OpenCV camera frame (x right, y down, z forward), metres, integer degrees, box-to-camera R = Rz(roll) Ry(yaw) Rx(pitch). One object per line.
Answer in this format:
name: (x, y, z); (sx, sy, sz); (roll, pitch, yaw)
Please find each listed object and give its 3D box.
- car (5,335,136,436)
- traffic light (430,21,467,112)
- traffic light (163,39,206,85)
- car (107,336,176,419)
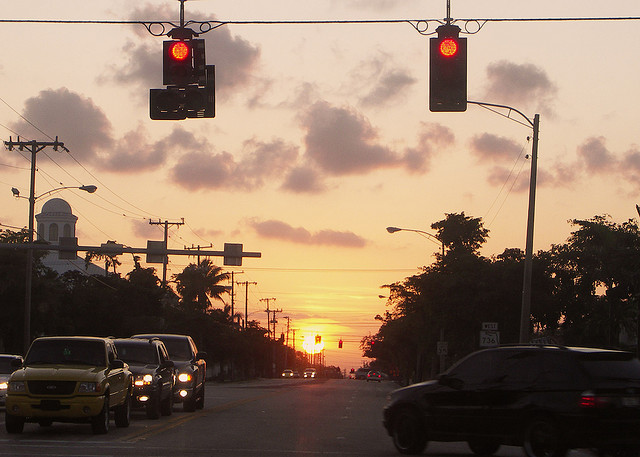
car: (-6.957, 4.315, 31.756); (2.714, 2.849, 2.731); (1, -10, 8)
traffic light: (3.187, -4.017, 28.438); (0.972, 0.327, 2.359); (0, -54, 6)
traffic light: (-3.351, -4.072, 28.223); (1.084, 1.193, 0.283); (4, -10, -6)
car: (-5.999, 4.731, 37.148); (2.476, 2.667, 5.224); (1, -4, 0)
